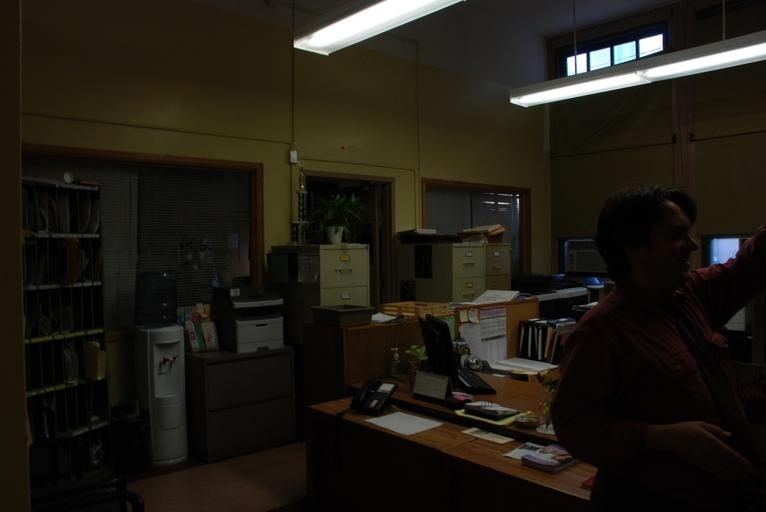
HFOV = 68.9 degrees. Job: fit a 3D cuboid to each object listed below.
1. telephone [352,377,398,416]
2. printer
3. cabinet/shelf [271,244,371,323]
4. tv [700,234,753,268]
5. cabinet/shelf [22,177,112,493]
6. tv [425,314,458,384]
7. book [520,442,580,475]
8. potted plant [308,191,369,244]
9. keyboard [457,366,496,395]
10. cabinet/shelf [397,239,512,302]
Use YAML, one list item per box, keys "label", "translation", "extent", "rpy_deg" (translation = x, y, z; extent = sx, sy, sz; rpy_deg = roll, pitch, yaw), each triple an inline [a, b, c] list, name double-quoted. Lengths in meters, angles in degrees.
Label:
- label: "telephone"
  translation: [-0.063, 0.801, 3.305]
  extent: [0.218, 0.092, 0.299]
  rpy_deg: [7, 18, 31]
- label: "printer"
  translation: [-1.193, 0.516, 4.934]
  extent: [0.496, 0.694, 0.683]
  rpy_deg: [-4, -4, 43]
- label: "cabinet/shelf"
  translation: [-0.576, 0.297, 5.407]
  extent: [0.571, 0.855, 0.875]
  rpy_deg: [-1, 0, 25]
- label: "tv"
  translation: [3.026, -0.064, 4.925]
  extent: [0.368, 0.373, 0.268]
  rpy_deg: [0, -1, 26]
- label: "cabinet/shelf"
  translation: [-2.392, 0.405, 4.078]
  extent: [0.318, 2.023, 0.732]
  rpy_deg: [-4, -1, 11]
- label: "tv"
  translation: [0.353, 0.544, 3.375]
  extent: [0.119, 0.340, 0.333]
  rpy_deg: [4, -19, 26]
- label: "book"
  translation: [0.758, 0.923, 2.540]
  extent: [0.193, 0.047, 0.190]
  rpy_deg: [-4, 1, -40]
- label: "potted plant"
  translation: [-0.484, -0.369, 5.572]
  extent: [0.552, 0.505, 0.564]
  rpy_deg: [0, 1, 30]
- label: "keyboard"
  translation: [0.559, 0.742, 3.344]
  extent: [0.123, 0.058, 0.239]
  rpy_deg: [22, 8, -19]
- label: "cabinet/shelf"
  translation: [0.811, 0.226, 6.396]
  extent: [0.712, 0.850, 1.259]
  rpy_deg: [4, 4, 34]
